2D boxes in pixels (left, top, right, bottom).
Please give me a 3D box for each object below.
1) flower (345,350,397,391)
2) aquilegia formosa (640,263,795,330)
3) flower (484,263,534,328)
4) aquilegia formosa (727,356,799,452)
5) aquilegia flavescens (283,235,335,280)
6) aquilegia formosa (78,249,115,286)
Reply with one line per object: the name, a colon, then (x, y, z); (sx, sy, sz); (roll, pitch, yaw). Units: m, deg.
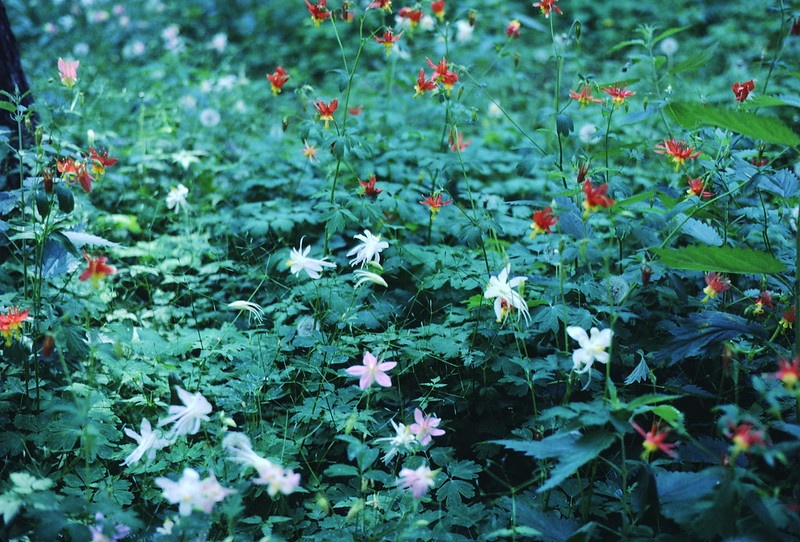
flower: (-0.157, 0.562, 4.506); (0.259, 0.202, 0.293); (-10, -15, -4)
aquilegia formosa: (1.928, 0.162, 4.919); (0.773, 0.551, 0.397); (-16, -15, 18)
flower: (0.607, 0.126, 4.590); (0.276, 0.315, 0.156); (8, -21, 32)
aquilegia formosa: (1.773, 0.752, 4.031); (0.274, 0.659, 0.424); (-1, 16, 33)
aquilegia flavescens: (-0.555, -0.108, 5.001); (0.413, 0.284, 0.289); (-4, 7, -2)
aquilegia formosa: (-1.676, -0.008, 4.486); (0.208, 0.242, 0.088); (11, -5, -18)
